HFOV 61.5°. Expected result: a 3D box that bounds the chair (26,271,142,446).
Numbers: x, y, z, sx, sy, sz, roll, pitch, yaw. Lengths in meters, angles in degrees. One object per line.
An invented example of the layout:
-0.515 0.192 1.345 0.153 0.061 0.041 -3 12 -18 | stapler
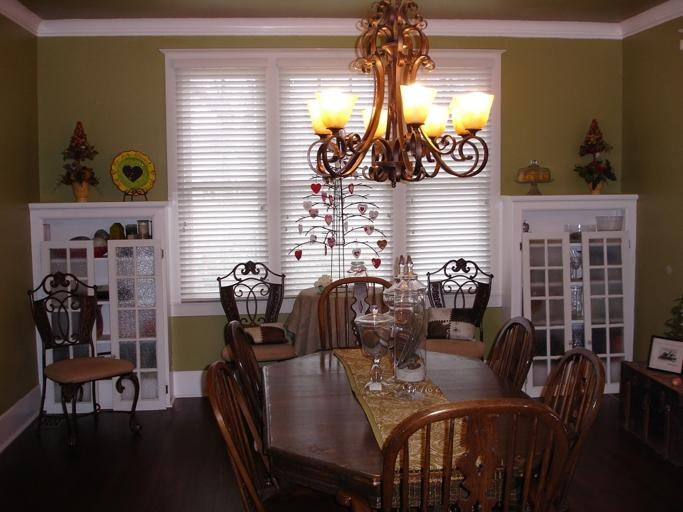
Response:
-2.149 0.770 4.746 0.743 1.254 0.971 -8 14 -30 | chair

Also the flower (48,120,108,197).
-2.334 -0.827 5.066 0.368 0.696 0.418 -6 14 -25 | flower

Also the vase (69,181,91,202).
-2.256 -0.563 5.031 0.163 0.213 0.172 5 7 5 | vase

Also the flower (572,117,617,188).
2.409 -0.941 5.385 0.459 0.655 0.325 0 12 0 | flower

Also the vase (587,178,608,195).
2.409 -0.650 5.399 0.165 0.205 0.174 0 1 -4 | vase
